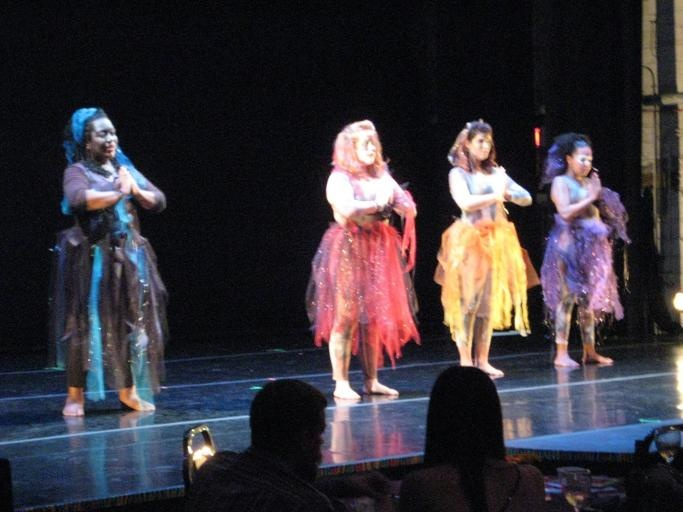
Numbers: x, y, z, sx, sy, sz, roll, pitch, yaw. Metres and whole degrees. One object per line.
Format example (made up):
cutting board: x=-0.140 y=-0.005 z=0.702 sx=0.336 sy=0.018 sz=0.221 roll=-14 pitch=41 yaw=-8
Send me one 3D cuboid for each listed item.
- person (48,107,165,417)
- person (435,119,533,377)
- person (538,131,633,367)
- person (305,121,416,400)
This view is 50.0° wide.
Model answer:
person: x=-1.294 y=0.029 z=4.115 sx=0.613 sy=1.683 sz=0.484 roll=-2 pitch=-8 yaw=-22
person: x=1.040 y=-0.079 z=5.363 sx=0.752 sy=1.895 sz=0.850 roll=-7 pitch=-8 yaw=13
person: x=1.861 y=-0.055 z=5.744 sx=0.633 sy=1.812 sz=0.757 roll=-9 pitch=-9 yaw=25
person: x=0.132 y=0.024 z=4.524 sx=0.737 sy=1.676 sz=0.523 roll=-5 pitch=-8 yaw=-4
